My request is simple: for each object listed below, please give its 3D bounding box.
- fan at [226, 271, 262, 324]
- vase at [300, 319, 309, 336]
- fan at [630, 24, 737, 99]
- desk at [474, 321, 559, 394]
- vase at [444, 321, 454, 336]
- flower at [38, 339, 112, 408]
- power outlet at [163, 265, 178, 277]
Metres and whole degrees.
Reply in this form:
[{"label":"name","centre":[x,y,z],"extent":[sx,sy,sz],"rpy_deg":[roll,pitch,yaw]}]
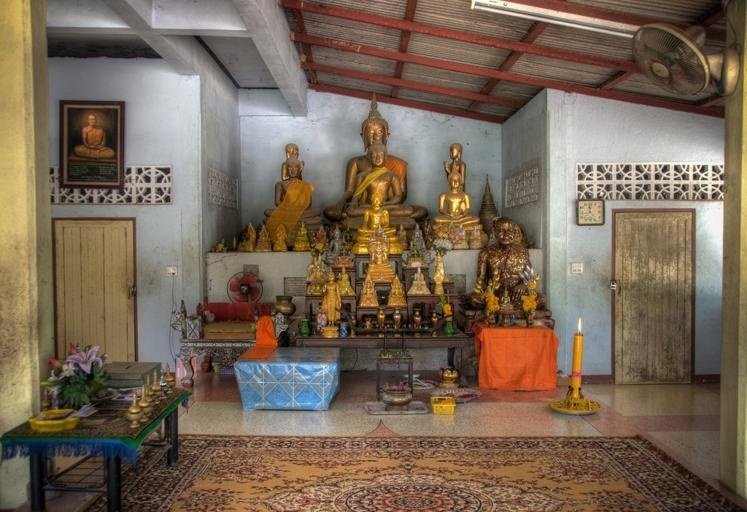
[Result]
[{"label":"fan","centre":[-1.680,0.533,8.010],"extent":[0.432,0.704,0.276],"rpy_deg":[0,6,-14]},{"label":"vase","centre":[-0.799,0.855,7.251],"extent":[0.151,0.201,0.151],"rpy_deg":[-1,1,-8]},{"label":"fan","centre":[2.497,-1.572,4.913],"extent":[0.781,0.550,0.498],"rpy_deg":[5,11,26]},{"label":"desk","centre":[1.799,1.202,7.429],"extent":[1.059,0.604,1.052],"rpy_deg":[-2,-9,2]},{"label":"vase","centre":[0.877,0.825,7.119],"extent":[0.111,0.156,0.205],"rpy_deg":[1,10,5]},{"label":"flower","centre":[-2.310,0.927,4.904],"extent":[0.466,0.582,0.508],"rpy_deg":[9,8,35]},{"label":"power outlet","centre":[-2.635,0.190,7.948],"extent":[0.150,0.147,0.019],"rpy_deg":[2,-8,-3]}]
